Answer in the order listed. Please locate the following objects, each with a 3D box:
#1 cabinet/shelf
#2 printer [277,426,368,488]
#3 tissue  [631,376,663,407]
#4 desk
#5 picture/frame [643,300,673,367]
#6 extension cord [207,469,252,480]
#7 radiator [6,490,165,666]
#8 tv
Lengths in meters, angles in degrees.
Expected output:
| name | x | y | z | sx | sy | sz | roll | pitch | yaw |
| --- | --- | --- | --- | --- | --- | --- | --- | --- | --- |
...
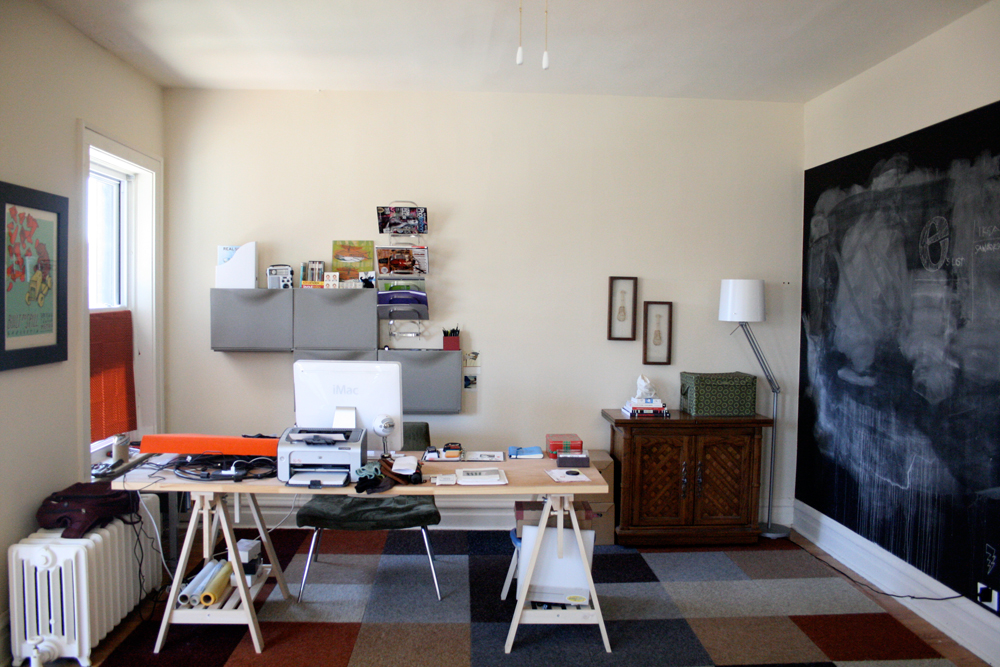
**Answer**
| name | x | y | z | sx | sy | sz | roll | pitch | yaw |
| --- | --- | --- | --- | --- | --- | --- | --- | --- | --- |
| cabinet/shelf | 1.512 | 1.194 | 6.603 | 1.907 | 1.553 | 0.980 | 0 | -1 | -4 |
| printer | -1.201 | 0.836 | 4.869 | 0.424 | 0.258 | 0.423 | 1 | 4 | -2 |
| tissue  | 1.279 | 0.505 | 6.369 | 0.265 | 0.261 | 0.348 | -2 | 1 | 10 |
| desk | -0.844 | 1.546 | 5.347 | 3.117 | 1.018 | 1.085 | -2 | 1 | -2 |
| picture/frame | 1.408 | -0.004 | 6.477 | 0.287 | 0.576 | 0.056 | -2 | 1 | -11 |
| extension cord | -1.830 | 0.955 | 4.907 | 0.249 | 0.077 | 0.081 | -2 | 1 | 7 |
| radiator | -2.826 | 1.668 | 4.873 | 0.446 | 0.886 | 1.114 | 0 | 3 | 5 |
| tv | -1.049 | 0.499 | 4.989 | 0.597 | 0.527 | 0.284 | 1 | 6 | -1 |
